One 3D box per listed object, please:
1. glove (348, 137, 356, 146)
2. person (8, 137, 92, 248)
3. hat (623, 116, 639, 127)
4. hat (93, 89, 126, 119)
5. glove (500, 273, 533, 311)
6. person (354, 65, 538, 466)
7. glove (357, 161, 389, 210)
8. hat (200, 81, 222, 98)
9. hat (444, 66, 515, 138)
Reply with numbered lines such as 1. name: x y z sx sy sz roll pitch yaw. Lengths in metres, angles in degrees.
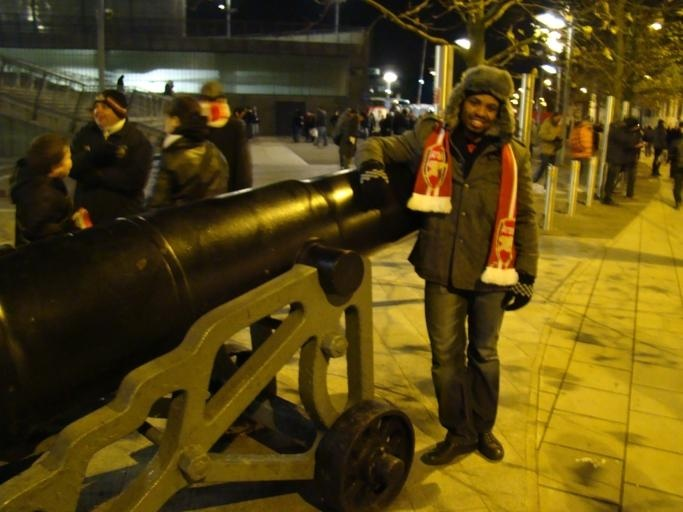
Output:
1. glove: 0.214 -2.742 12.722 0.118 0.123 0.345 23 15 2
2. person: -2.002 -0.415 3.669 0.436 0.797 0.718 -6 18 -32
3. hat: 7.281 -3.421 13.600 0.334 0.269 0.703 12 17 25
4. hat: -1.719 -1.148 4.011 0.214 0.191 0.287 -3 17 -24
5. glove: 0.994 0.203 2.984 0.073 0.198 0.149 -4 52 -51
6. person: 0.605 0.076 3.010 0.935 2.195 0.459 3 15 -3
7. glove: 0.167 -0.361 2.711 0.178 0.236 0.166 1 15 -9
8. hat: -1.155 -1.489 4.774 0.203 0.162 0.305 0 16 -15
9. hat: 0.742 -0.851 2.981 0.356 0.363 0.382 0 12 8
